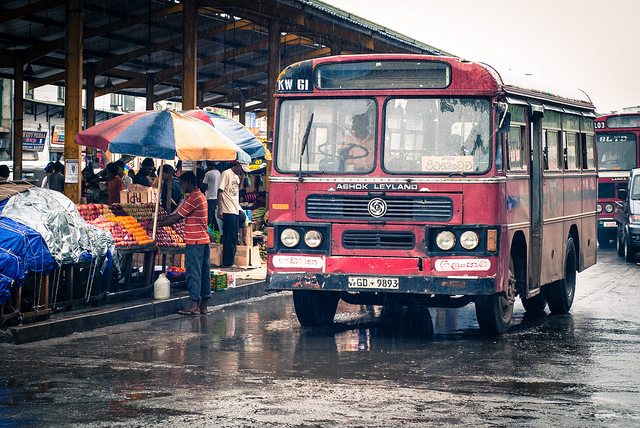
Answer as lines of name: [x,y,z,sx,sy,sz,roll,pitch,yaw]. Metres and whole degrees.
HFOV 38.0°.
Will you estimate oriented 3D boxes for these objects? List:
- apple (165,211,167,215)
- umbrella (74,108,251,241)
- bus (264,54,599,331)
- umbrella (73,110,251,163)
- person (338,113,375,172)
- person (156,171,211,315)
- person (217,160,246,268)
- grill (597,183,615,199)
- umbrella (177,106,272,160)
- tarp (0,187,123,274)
apple: [-3.231,-0.026,19.467,0.056,0.063,0.062,3,4,11]
umbrella: [-3.103,-0.847,18.823,2.597,2.069,2.686,10,2,-42]
bus: [2.124,-0.311,16.454,6.168,4.835,3.240,-1,6,-11]
umbrella: [-3.143,-1.551,18.588,3.144,0.995,1.204,0,6,-7]
person: [0.735,-1.226,15.935,0.764,1.388,0.749,0,-6,8]
person: [-2.417,0.554,17.810,0.596,2.740,0.404,-1,5,-11]
person: [-2.126,0.039,22.235,0.610,2.587,0.871,0,5,-5]
grill: [9.579,-0.774,30.833,0.351,0.495,0.235,-7,-22,6]
umbrella: [-2.121,-1.989,22.066,1.658,0.714,1.783,12,-6,25]
tarp: [-4.604,0.235,16.557,1.641,0.649,1.079,30,5,34]
